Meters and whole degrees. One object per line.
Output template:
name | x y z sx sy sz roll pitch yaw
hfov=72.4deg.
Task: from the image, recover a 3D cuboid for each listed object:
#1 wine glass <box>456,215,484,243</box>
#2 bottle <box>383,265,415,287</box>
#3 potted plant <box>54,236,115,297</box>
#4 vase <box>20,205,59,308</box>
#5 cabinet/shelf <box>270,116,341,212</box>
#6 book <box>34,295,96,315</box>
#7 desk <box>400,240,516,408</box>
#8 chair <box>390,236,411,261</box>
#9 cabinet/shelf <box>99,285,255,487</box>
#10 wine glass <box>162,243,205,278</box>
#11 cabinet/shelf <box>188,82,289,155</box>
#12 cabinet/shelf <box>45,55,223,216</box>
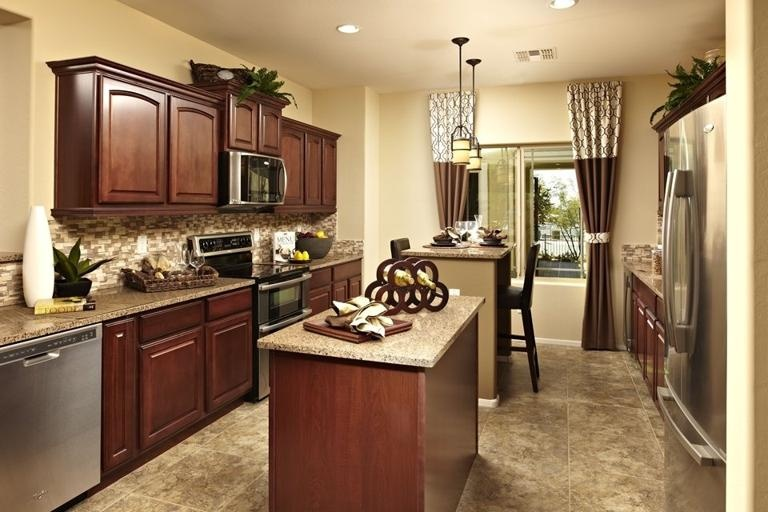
wine glass | 0.864 -0.267 5.393 0.343 0.342 0.208 1 -2 -13
bottle | 0.084 0.114 3.087 0.189 0.134 0.113 3 11 13
potted plant | -2.055 0.089 3.606 0.397 0.276 0.399 6 -11 -44
vase | -2.243 0.012 3.407 0.187 0.642 0.249 -7 13 -35
cabinet/shelf | -0.719 -0.951 5.902 0.363 0.893 1.013 -11 19 -43
book | -2.057 0.305 3.431 0.342 0.063 0.289 -4 12 -20
desk | 1.100 0.516 5.247 1.028 1.448 1.501 4 12 37
chair | 0.142 -0.072 5.200 0.191 0.345 0.237 0 2 30
cabinet/shelf | -1.762 0.789 4.139 0.821 1.202 1.635 9 11 24
wine glass | -1.676 0.035 4.353 0.292 0.295 0.299 -1 0 6
cabinet/shelf | -1.274 -1.205 4.858 0.396 0.538 0.815 2 3 30
cabinet/shelf | -1.876 -0.837 4.169 0.434 1.022 1.375 6 7 20
